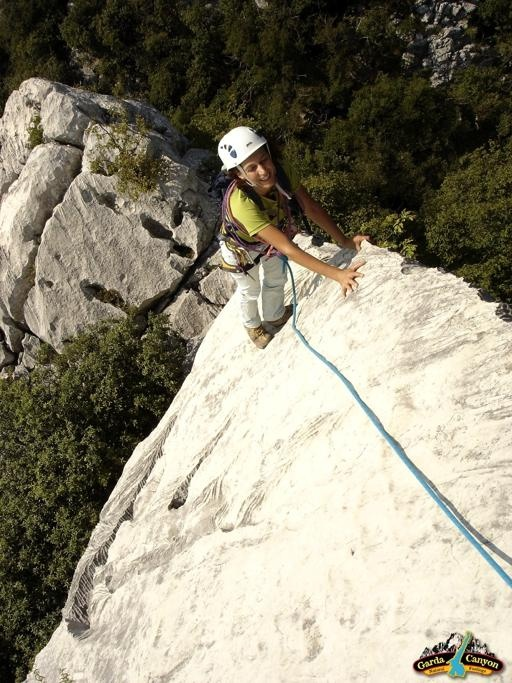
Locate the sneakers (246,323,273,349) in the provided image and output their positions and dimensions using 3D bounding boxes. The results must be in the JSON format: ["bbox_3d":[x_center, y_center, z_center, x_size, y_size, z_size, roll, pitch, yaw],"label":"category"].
[{"bbox_3d":[0.049,-0.076,11.754,0.241,0.171,0.428,-41,71,7],"label":"sneakers"}]
